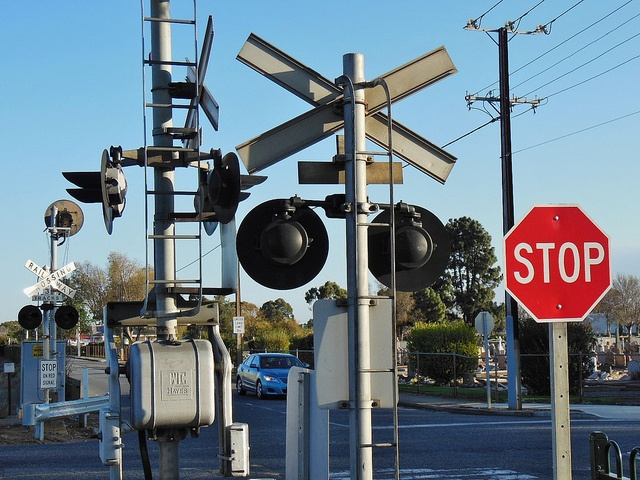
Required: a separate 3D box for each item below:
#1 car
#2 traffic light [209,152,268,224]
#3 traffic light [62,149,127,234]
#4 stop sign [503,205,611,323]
[{"bbox_3d":[-1.519,4.371,35.731,1.577,1.528,4.058,6,-7,-21],"label":"car"},{"bbox_3d":[-1.287,-0.696,17.397,0.820,1.067,2.075,-1,-8,2],"label":"traffic light"},{"bbox_3d":[-3.384,-0.800,17.324,0.674,1.324,1.206,-6,-4,5],"label":"traffic light"},{"bbox_3d":[3.215,0.324,15.235,1.431,1.566,0.078,0,-6,-4],"label":"stop sign"}]
